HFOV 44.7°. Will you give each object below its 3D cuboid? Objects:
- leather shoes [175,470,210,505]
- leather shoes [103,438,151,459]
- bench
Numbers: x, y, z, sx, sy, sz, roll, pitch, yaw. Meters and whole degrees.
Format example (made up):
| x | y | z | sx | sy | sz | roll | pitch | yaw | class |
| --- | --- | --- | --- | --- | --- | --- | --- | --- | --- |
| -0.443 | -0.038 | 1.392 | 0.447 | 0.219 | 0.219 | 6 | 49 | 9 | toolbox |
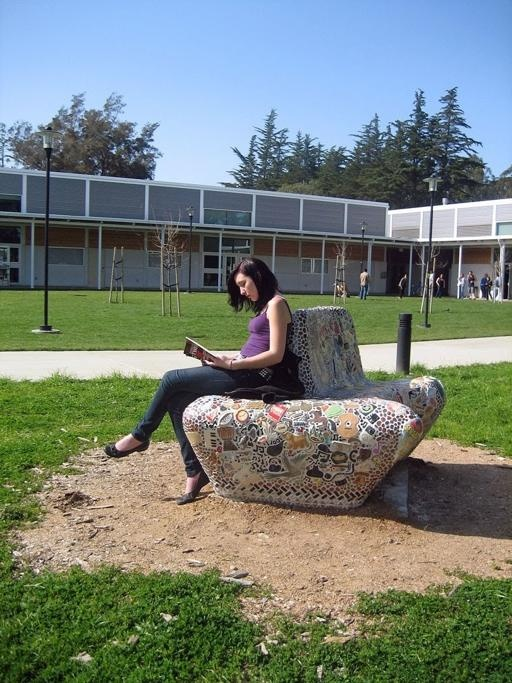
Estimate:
| x | y | z | sx | sy | sz | roll | pitch | yaw | class |
| --- | --- | --- | --- | --- | --- | --- | --- | --- | --- |
| -0.373 | 0.906 | 3.880 | 0.096 | 0.113 | 0.289 | -3 | 34 | 37 | leather shoes |
| -0.786 | 0.729 | 4.130 | 0.443 | 0.151 | 0.149 | 1 | 1 | -2 | leather shoes |
| 0.439 | 0.371 | 3.907 | 1.267 | 1.124 | 1.398 | 3 | 6 | 20 | bench |
